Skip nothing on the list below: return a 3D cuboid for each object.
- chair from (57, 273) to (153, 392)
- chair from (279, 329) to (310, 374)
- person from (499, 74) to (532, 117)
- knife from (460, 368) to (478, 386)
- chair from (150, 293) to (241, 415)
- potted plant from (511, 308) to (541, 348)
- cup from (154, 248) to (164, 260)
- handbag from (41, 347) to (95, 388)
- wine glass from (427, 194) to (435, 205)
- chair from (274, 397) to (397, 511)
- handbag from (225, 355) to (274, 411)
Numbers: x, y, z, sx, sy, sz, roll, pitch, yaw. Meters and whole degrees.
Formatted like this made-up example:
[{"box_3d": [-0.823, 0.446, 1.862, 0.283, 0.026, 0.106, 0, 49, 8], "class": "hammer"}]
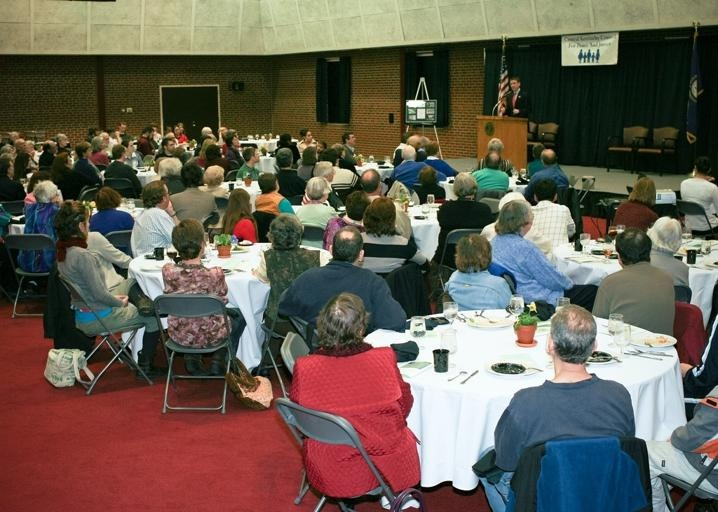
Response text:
[{"box_3d": [-2.468, 0.684, 6.286, 0.968, 1.221, 0.847, -10, 30, -45], "class": "chair"}, {"box_3d": [-0.453, 0.643, 4.276, 0.272, 0.245, 0.257, -17, -3, 2], "class": "chair"}, {"box_3d": [3.789, -3.963, 15.157, 0.546, 1.014, 0.990, -7, 15, -21], "class": "person"}, {"box_3d": [0.719, 0.787, 4.034, 0.043, 0.022, 0.259, 13, 16, 26], "class": "knife"}, {"box_3d": [-1.482, 0.905, 5.705, 0.763, 1.370, 0.955, 1, 23, -3], "class": "chair"}, {"box_3d": [1.180, 0.513, 4.389, 0.213, 0.220, 0.219, 1, 4, 17], "class": "potted plant"}, {"box_3d": [-2.024, -0.028, 6.286, 0.082, 0.152, 0.081, 2, 16, -1], "class": "cup"}, {"box_3d": [-2.924, 1.132, 6.240, 0.460, 0.337, 0.359, 9, -7, -12], "class": "handbag"}, {"box_3d": [1.030, -0.840, 9.046, 0.140, 0.199, 0.144, 0, 6, 0], "class": "wine glass"}, {"box_3d": [-0.130, 1.172, 3.707, 0.737, 0.673, 0.307, 8, 17, 32], "class": "chair"}, {"box_3d": [-1.027, 1.220, 5.654, 0.511, 0.184, 0.369, 44, 33, 1], "class": "handbag"}]
